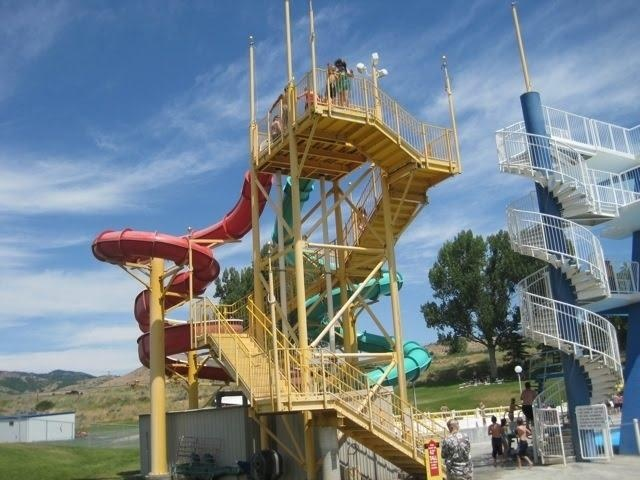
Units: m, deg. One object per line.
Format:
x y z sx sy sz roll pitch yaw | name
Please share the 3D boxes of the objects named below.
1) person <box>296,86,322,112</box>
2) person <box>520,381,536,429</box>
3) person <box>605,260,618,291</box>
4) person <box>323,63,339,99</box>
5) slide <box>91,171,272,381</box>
-0.391 -5.538 23.977 0.881 1.154 0.609 -10 -18 20 | person
9.450 7.422 27.526 0.601 2.072 0.600 2 12 32 | person
13.824 1.757 28.747 0.302 1.533 0.632 -15 -21 36 | person
0.449 -6.285 24.109 0.630 1.740 0.501 2 -17 -15 | person
-7.254 1.511 30.148 7.053 8.630 6.595 -8 -8 18 | slide
